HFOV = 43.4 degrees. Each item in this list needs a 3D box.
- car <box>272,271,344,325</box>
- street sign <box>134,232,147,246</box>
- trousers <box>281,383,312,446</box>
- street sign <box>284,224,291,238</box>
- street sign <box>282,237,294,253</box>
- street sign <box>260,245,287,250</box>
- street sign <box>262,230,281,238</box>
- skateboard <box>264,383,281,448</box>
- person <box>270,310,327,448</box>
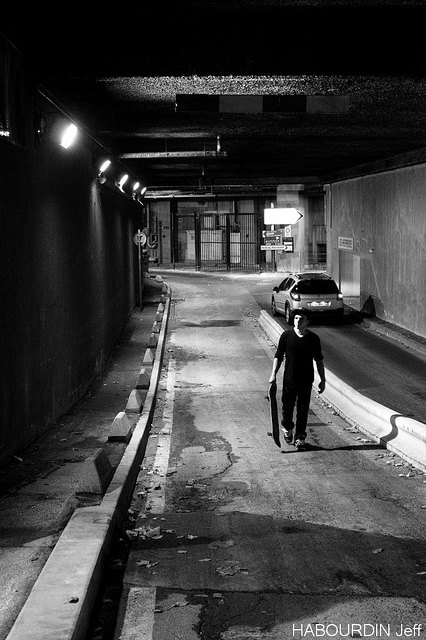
[{"bbox_3d":[3.772,-0.315,21.499,1.789,2.395,3.748,0,8,-5],"label":"car"},{"bbox_3d":[-3.459,-3.785,25.025,0.501,0.608,1.273,-1,7,-9],"label":"street sign"},{"bbox_3d":[1.226,1.411,8.036,0.401,1.048,0.584,1,6,8],"label":"trousers"},{"bbox_3d":[5.519,-6.649,39.997,0.526,0.992,1.236,1,7,7],"label":"street sign"},{"bbox_3d":[5.488,-5.578,39.490,0.783,1.678,0.151,1,-11,-4],"label":"street sign"},{"bbox_3d":[4.370,-5.219,38.313,1.090,0.318,2.268,8,10,44],"label":"street sign"},{"bbox_3d":[4.151,-6.117,38.114,1.315,0.424,0.790,0,7,-4],"label":"street sign"},{"bbox_3d":[0.858,1.387,7.795,0.114,1.126,0.195,-5,-2,41],"label":"skateboard"},{"bbox_3d":[1.293,0.896,8.161,0.796,2.161,1.231,1,6,13],"label":"person"}]
